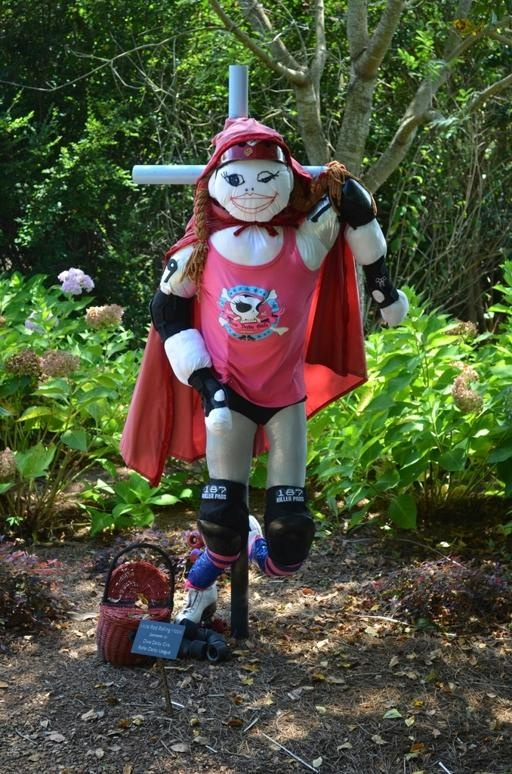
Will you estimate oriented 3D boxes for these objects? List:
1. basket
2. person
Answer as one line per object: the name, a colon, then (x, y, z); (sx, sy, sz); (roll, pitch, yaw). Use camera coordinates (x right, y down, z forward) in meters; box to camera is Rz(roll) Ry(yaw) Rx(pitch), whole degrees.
basket: (-0.384, 0.656, 2.223); (0.234, 0.351, 0.245); (4, 9, 18)
person: (0.071, -0.006, 2.255); (0.690, 1.650, 0.411); (-3, 8, -25)
